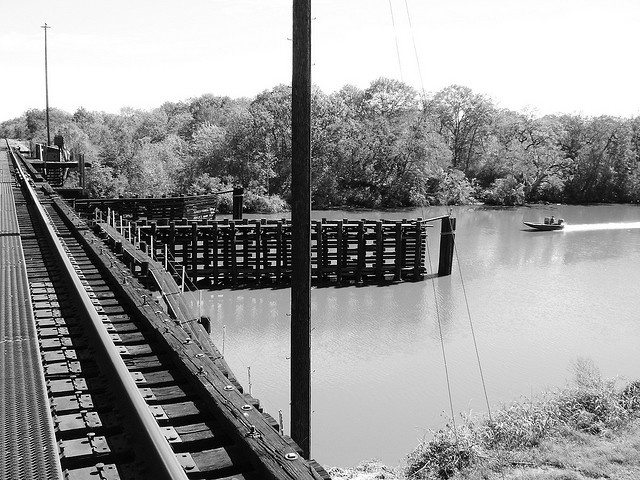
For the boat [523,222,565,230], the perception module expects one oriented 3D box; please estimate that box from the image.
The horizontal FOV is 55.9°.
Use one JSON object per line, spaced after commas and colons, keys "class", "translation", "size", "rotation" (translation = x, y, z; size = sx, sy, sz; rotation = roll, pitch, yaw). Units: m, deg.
{"class": "boat", "translation": [17.914, -1.036, 48.353], "size": [3.046, 0.899, 1.452], "rotation": [2, 1, 6]}
